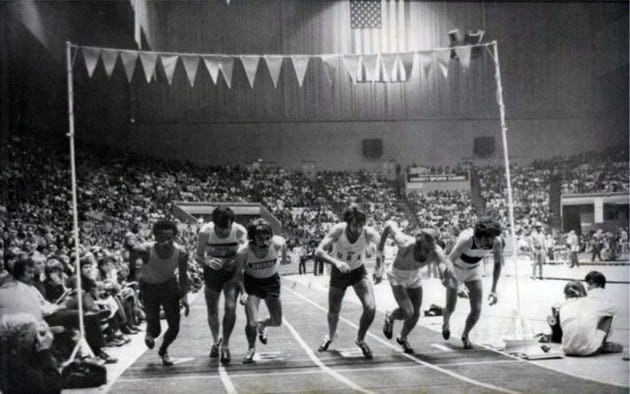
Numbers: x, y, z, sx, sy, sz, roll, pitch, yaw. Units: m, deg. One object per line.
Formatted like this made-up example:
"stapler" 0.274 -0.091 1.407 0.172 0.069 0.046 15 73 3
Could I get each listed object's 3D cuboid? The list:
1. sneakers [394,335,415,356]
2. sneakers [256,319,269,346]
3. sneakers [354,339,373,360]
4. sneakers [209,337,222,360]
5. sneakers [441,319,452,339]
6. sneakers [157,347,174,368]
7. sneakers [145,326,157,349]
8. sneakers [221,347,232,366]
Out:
"sneakers" 1.534 2.565 12.433 0.175 0.407 0.156 -8 -31 -44
"sneakers" -0.891 2.263 12.034 0.169 0.490 0.160 -4 4 18
"sneakers" 0.850 2.594 12.224 0.167 0.470 0.182 2 -37 -39
"sneakers" -1.691 2.565 12.211 0.204 0.340 0.191 0 -1 -1
"sneakers" 2.332 2.343 12.679 0.120 0.371 0.141 0 10 8
"sneakers" -2.508 2.724 12.102 0.166 0.241 0.312 4 -5 -28
"sneakers" -2.715 2.341 12.021 0.151 0.509 0.186 10 -16 -43
"sneakers" -1.483 2.651 12.060 0.196 0.326 0.218 0 -1 -18
